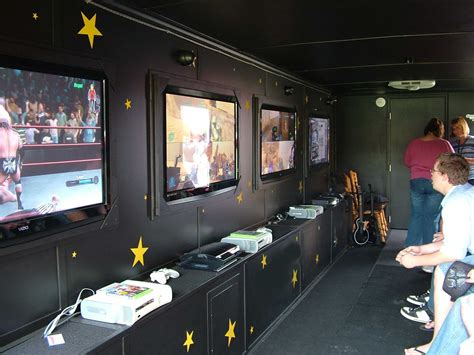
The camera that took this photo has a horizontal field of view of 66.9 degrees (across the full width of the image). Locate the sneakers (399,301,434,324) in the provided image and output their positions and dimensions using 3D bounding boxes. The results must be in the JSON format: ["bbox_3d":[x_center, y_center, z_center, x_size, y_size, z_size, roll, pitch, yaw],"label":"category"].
[{"bbox_3d":[1.875,1.410,3.761,0.120,0.152,0.323,0,0,-44],"label":"sneakers"}]

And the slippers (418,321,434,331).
[{"bbox_3d":[1.898,1.479,3.589,0.121,0.042,0.093,-1,-5,-17],"label":"slippers"}]

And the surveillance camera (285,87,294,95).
[{"bbox_3d":[0.692,-1.158,4.773,0.103,0.106,0.027,-10,19,-35],"label":"surveillance camera"}]

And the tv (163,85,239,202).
[{"bbox_3d":[-0.333,-0.303,3.099,0.080,0.929,1.045,0,5,31],"label":"tv"}]

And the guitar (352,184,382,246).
[{"bbox_3d":[2.334,0.681,6.450,0.440,0.985,0.693,1,6,23],"label":"guitar"}]

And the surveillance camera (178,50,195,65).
[{"bbox_3d":[-0.407,-0.958,2.882,0.133,0.116,0.099,-4,4,-17],"label":"surveillance camera"}]
